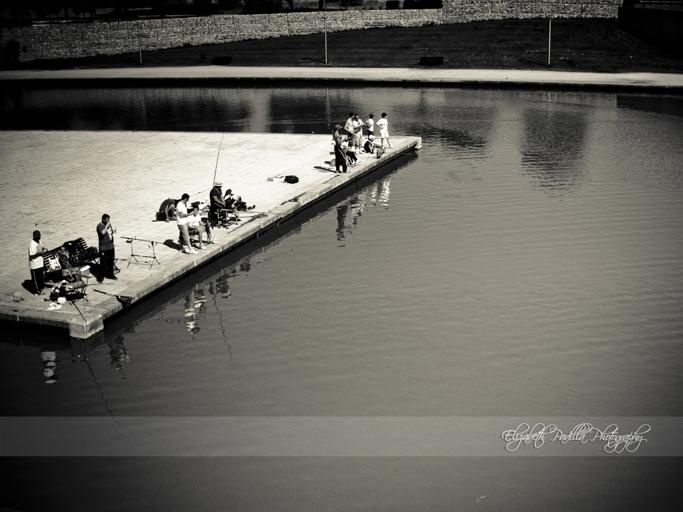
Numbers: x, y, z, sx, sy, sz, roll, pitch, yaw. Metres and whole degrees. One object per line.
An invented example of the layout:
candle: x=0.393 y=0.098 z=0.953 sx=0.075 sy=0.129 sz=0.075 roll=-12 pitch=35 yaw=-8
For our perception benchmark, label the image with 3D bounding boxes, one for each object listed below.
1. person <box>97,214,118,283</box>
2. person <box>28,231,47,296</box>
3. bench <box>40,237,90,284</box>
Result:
person: x=-6.354 y=-0.251 z=24.956 sx=0.431 sy=1.890 sz=0.671 roll=-6 pitch=19 yaw=-16
person: x=-8.067 y=0.117 z=24.548 sx=0.384 sy=1.652 sz=0.632 roll=-7 pitch=20 yaw=-19
bench: x=-7.434 y=0.078 z=25.252 sx=1.353 sy=0.497 sz=0.992 roll=-2 pitch=28 yaw=15
